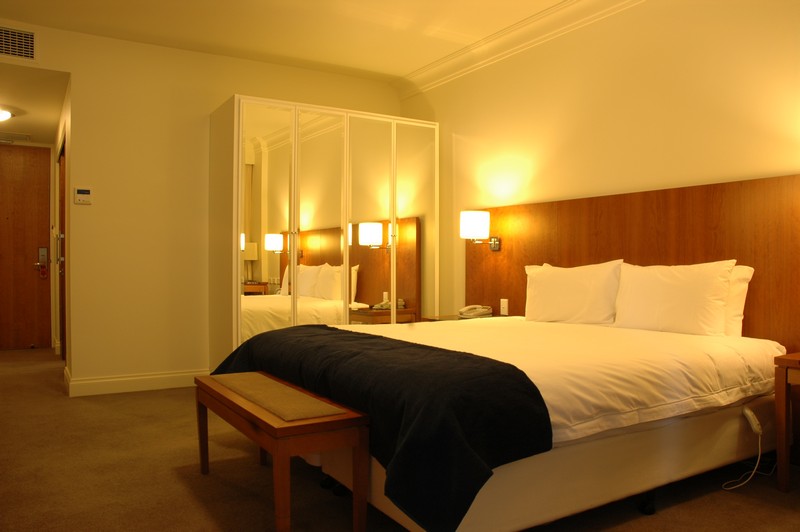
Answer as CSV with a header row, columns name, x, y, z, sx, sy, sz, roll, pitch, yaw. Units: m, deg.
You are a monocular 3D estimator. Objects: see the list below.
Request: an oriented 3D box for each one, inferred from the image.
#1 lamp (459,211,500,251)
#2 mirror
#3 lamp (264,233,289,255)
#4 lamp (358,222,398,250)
name,x,y,z,sx,sy,sz,roll,pitch,yaw
lamp,0.852,-0.371,5.833,0.436,0.428,0.294,0,7,-26
mirror,-0.687,-0.433,5.627,2.501,2.973,0.811,0,3,-25
lamp,-1.240,-0.236,5.515,0.234,0.194,0.058,-2,6,-20
lamp,-0.260,-0.344,5.990,0.433,0.322,0.261,1,-3,-22
